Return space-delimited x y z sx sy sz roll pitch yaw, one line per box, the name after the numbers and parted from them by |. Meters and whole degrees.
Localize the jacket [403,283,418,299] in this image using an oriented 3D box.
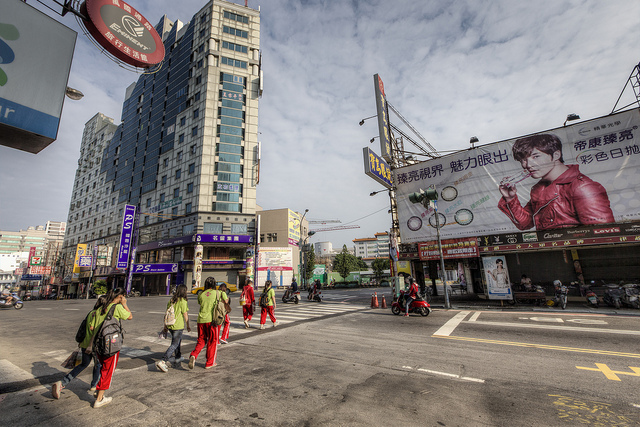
5.182 4.387 17.641 0.733 0.864 0.356 -6 -12 8 | jacket

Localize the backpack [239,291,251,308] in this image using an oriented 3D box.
-3.526 4.084 14.792 0.493 0.783 0.536 -2 -13 -14 | backpack

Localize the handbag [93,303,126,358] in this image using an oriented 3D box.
-5.846 3.260 8.660 0.675 1.407 0.409 4 -15 -33 | handbag

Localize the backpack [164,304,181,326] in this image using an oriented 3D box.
-4.793 3.275 10.055 0.528 0.660 0.225 -6 -12 8 | backpack

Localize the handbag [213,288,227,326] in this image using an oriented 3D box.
-3.386 3.154 10.498 0.384 1.099 0.297 -1 -13 -18 | handbag

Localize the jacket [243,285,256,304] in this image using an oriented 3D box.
-3.347 3.886 14.979 0.392 0.902 0.514 -16 -17 42 | jacket

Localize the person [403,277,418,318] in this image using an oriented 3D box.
5.071 4.741 17.635 0.871 2.028 1.145 -13 -15 33 | person
